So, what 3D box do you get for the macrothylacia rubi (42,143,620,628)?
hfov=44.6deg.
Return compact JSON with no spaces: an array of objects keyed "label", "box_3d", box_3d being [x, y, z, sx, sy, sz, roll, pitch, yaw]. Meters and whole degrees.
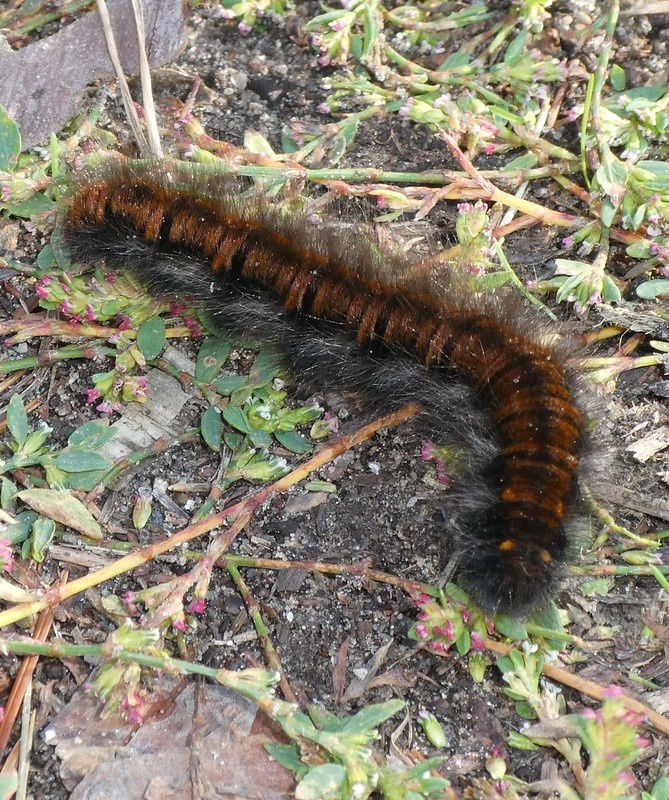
[{"label":"macrothylacia rubi","box_3d":[0.088,-0.237,3.080,2.294,0.526,0.954,41,80,13]}]
